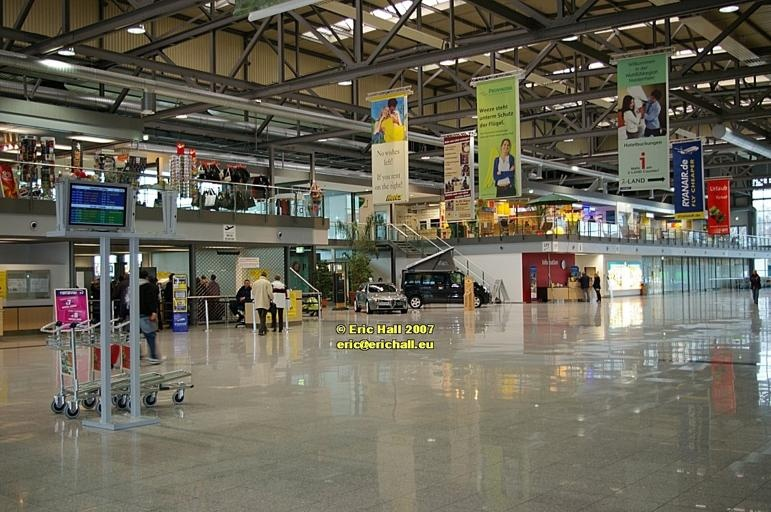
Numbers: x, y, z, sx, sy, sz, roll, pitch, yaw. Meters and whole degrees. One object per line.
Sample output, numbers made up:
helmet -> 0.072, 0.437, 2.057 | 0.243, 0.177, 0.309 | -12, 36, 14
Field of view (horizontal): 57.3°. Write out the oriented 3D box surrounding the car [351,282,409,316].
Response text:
car -> -0.199, 2.017, 33.827 | 1.767, 1.277, 2.376 | -2, -1, -21

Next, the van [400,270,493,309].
van -> 2.575, 1.750, 38.027 | 3.268, 1.834, 1.024 | -2, -1, -1

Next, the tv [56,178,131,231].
tv -> -4.779, -0.832, 11.703 | 1.124, 0.621, 0.146 | -2, -1, -33
